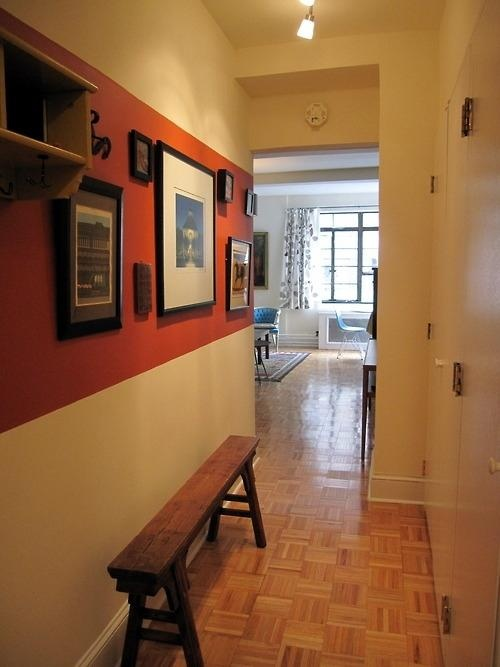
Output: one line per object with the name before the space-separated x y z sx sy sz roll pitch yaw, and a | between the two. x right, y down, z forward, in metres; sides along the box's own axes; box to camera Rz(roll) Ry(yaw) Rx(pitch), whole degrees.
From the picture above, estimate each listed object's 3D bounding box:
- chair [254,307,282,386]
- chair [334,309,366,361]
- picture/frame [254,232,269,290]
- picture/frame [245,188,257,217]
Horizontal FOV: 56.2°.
chair | 0.165 0.205 9.200 0.913 1.367 0.885 0 0 6
chair | 2.188 0.074 10.001 0.717 1.576 0.805 0 9 16
picture/frame | 0.278 -1.700 11.017 0.335 1.338 0.233 0 3 7
picture/frame | 0.001 -1.041 3.725 0.056 0.200 0.252 0 4 12
